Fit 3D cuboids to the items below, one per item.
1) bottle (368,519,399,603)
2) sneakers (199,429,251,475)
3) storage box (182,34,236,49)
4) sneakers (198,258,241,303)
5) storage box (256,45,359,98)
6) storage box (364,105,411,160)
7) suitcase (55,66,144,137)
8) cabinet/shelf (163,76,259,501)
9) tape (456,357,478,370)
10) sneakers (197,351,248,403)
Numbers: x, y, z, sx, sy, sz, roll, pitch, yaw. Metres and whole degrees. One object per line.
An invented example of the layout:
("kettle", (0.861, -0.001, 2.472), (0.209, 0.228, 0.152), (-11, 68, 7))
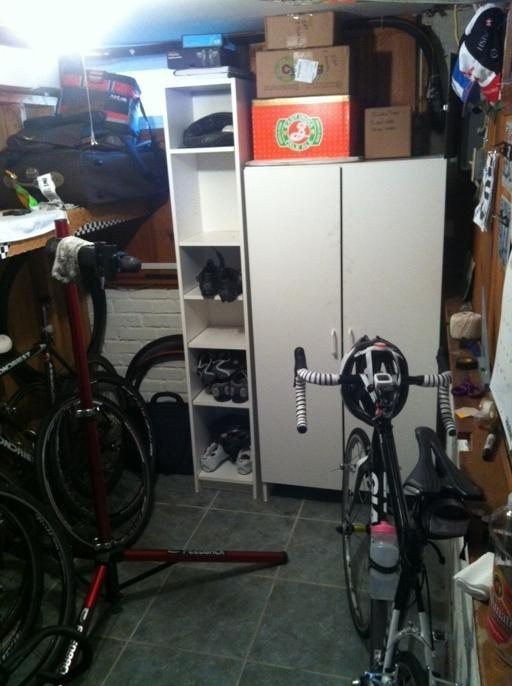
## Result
("bottle", (0.349, 0.627, 1.528), (0.078, 0.287, 0.130), (0, 15, 13))
("sneakers", (-0.161, 0.608, 3.121), (0.178, 0.143, 0.299), (12, 30, 28))
("storage box", (-0.238, -1.344, 2.498), (0.178, 0.065, 0.028), (-2, 15, 7))
("sneakers", (-0.182, -0.326, 2.919), (0.185, 0.102, 0.245), (-3, 39, 0))
("storage box", (0.193, -1.161, 2.410), (0.407, 0.224, 0.201), (5, 15, 15))
("storage box", (0.561, -0.877, 2.403), (0.216, 0.214, 0.217), (3, 14, 22))
("suitcase", (-0.792, -1.196, 2.835), (0.379, 0.239, 0.297), (8, 13, 7))
("cabinet/shelf", (-0.207, -0.540, 3.123), (0.357, 1.800, 0.318), (4, 43, 5))
("tape", (0.689, 0.069, 1.830), (0.038, 0.020, 0.051), (3, 14, 14))
("sneakers", (-0.177, 0.153, 3.069), (0.183, 0.149, 0.336), (-4, 28, 5))
